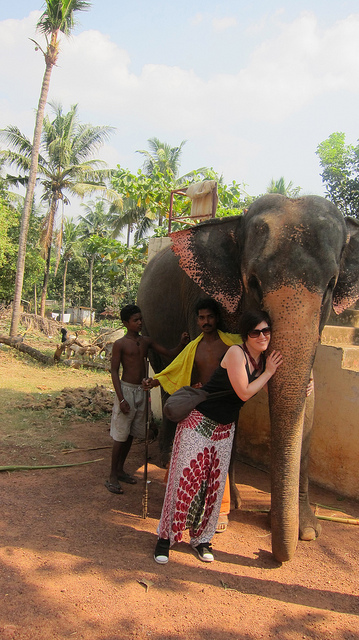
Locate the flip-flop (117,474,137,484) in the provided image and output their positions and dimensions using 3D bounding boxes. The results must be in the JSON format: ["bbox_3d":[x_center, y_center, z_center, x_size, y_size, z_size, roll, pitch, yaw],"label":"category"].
[{"bbox_3d":[-0.410,1.286,4.070,0.136,0.052,0.055,-1,-1,31],"label":"flip-flop"}]

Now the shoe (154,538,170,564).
[{"bbox_3d":[-0.095,1.276,2.769,0.079,0.126,0.125,6,0,2],"label":"shoe"}]

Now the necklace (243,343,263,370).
[{"bbox_3d":[0.397,0.187,2.717,0.074,0.149,0.085,-30,5,3],"label":"necklace"}]

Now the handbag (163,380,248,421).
[{"bbox_3d":[0.163,0.424,2.803,0.471,0.176,0.285,-14,7,33],"label":"handbag"}]

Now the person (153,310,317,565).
[{"bbox_3d":[0.198,0.651,2.834,0.579,1.390,0.496,6,1,0],"label":"person"}]

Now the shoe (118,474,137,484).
[{"bbox_3d":[-0.416,1.279,4.051,0.145,0.060,0.050,-2,-3,41],"label":"shoe"}]

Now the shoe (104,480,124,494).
[{"bbox_3d":[-0.489,1.252,3.781,0.053,0.067,0.153,6,-1,-42],"label":"shoe"}]
